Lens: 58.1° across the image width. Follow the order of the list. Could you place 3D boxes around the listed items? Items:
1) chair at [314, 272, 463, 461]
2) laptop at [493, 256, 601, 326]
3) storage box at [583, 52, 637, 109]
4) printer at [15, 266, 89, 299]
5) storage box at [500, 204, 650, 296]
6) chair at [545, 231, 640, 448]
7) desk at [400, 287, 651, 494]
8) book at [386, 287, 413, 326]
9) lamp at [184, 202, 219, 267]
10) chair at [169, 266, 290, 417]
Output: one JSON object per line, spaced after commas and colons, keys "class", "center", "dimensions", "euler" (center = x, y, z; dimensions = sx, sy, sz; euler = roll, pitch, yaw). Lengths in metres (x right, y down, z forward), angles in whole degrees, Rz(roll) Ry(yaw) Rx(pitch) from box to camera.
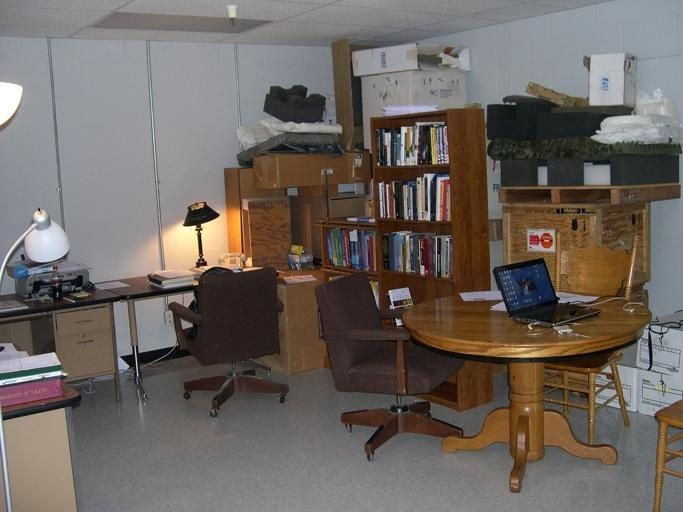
{"class": "chair", "center": [0.196, 0.775, 4.648], "dimensions": [1.207, 1.361, 1.267], "euler": [-1, 4, 29]}
{"class": "laptop", "center": [1.310, 0.223, 3.922], "dimensions": [0.629, 0.310, 0.587], "euler": [-4, 10, -16]}
{"class": "storage box", "center": [2.153, -1.401, 4.967], "dimensions": [0.382, 0.390, 0.357], "euler": [3, 10, 17]}
{"class": "printer", "center": [-2.485, 0.162, 5.285], "dimensions": [0.387, 0.167, 0.342], "euler": [-10, 13, -40]}
{"class": "storage box", "center": [1.809, 0.054, 5.169], "dimensions": [1.097, 0.942, 0.750], "euler": [2, -5, 0]}
{"class": "chair", "center": [1.720, 0.590, 4.589], "dimensions": [0.848, 1.430, 0.905], "euler": [0, 9, 37]}
{"class": "desk", "center": [1.239, 0.871, 4.125], "dimensions": [1.505, 0.940, 1.461], "euler": [-8, 7, -43]}
{"class": "book", "center": [0.486, 0.359, 5.023], "dimensions": [0.198, 0.246, 0.062], "euler": [-20, 21, 8]}
{"class": "lamp", "center": [-1.409, -0.201, 6.180], "dimensions": [0.374, 0.648, 0.355], "euler": [-5, -7, -9]}
{"class": "chair", "center": [-0.945, 0.654, 5.242], "dimensions": [0.894, 1.085, 0.828], "euler": [-7, 10, -40]}
